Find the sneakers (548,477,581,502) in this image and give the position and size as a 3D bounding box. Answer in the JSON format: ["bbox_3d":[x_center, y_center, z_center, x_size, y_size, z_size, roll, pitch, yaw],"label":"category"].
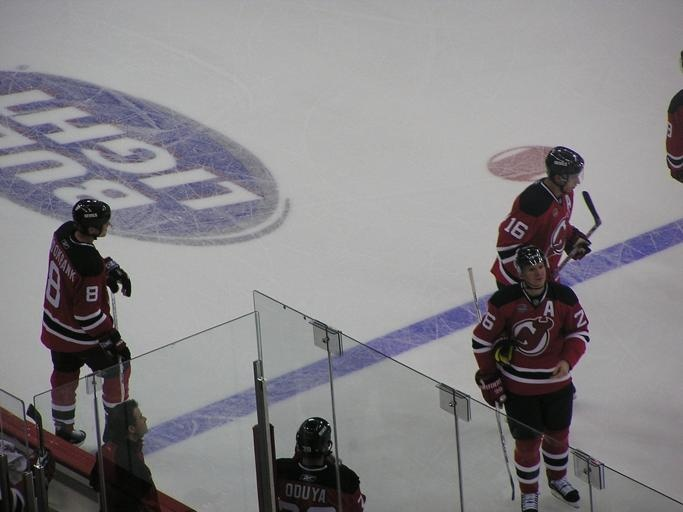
[{"bbox_3d":[1.395,1.465,6.769,0.182,0.149,0.116,13,-25,-33],"label":"sneakers"}]

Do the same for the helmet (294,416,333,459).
[{"bbox_3d":[-0.156,1.209,7.375,0.226,0.261,0.278,2,15,10],"label":"helmet"}]

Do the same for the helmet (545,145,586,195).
[{"bbox_3d":[1.794,-0.715,8.956,0.378,0.412,0.326,2,15,0],"label":"helmet"}]

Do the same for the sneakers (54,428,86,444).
[{"bbox_3d":[-1.800,1.196,7.216,0.181,0.113,0.107,1,19,4],"label":"sneakers"}]

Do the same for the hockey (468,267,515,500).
[{"bbox_3d":[1.068,0.932,7.663,0.067,1.461,0.061,-6,-6,-25],"label":"hockey"}]

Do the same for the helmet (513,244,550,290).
[{"bbox_3d":[1.462,0.081,7.929,0.226,0.308,0.325,-24,4,-7],"label":"helmet"}]
